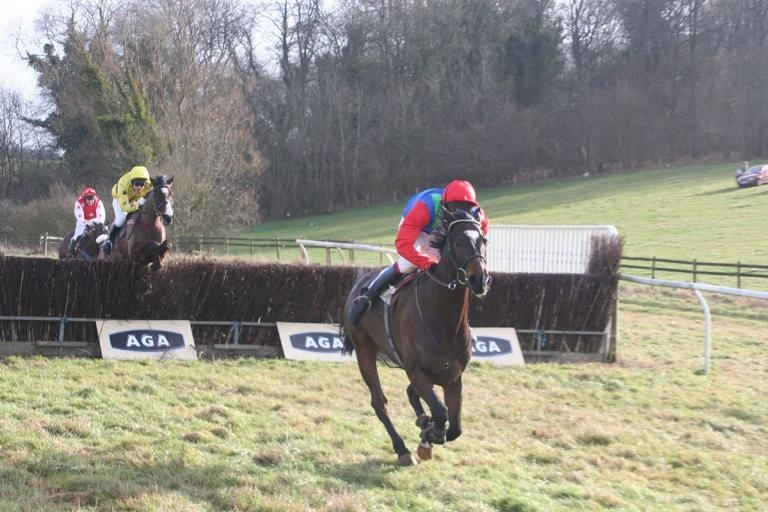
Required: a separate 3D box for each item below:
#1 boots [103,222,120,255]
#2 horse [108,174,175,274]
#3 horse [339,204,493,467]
[{"bbox_3d":[-10.448,-0.600,41.085,0.320,1.151,0.415,28,0,23],"label":"boots"},{"bbox_3d":[-9.076,-1.264,40.555,2.321,3.540,0.990,-1,3,23],"label":"horse"},{"bbox_3d":[0.132,3.567,39.680,3.070,7.963,10.832,1,-13,-26],"label":"horse"}]
